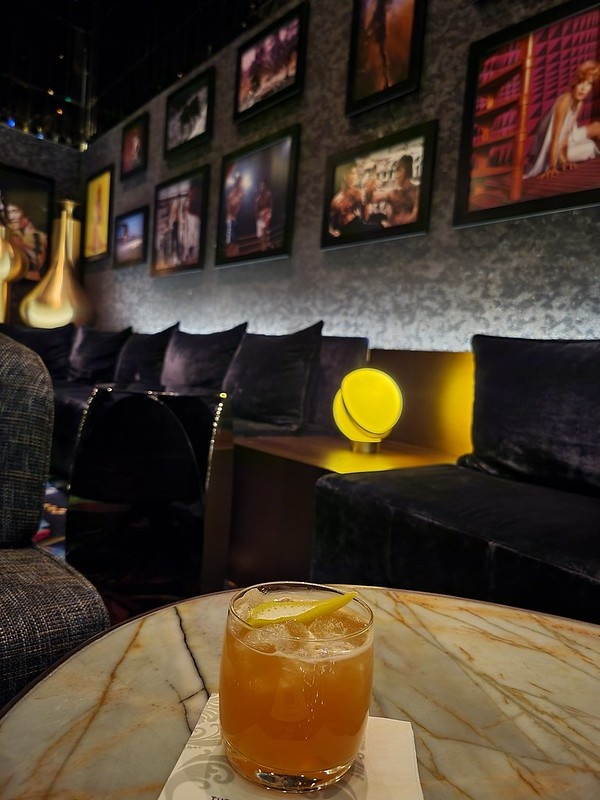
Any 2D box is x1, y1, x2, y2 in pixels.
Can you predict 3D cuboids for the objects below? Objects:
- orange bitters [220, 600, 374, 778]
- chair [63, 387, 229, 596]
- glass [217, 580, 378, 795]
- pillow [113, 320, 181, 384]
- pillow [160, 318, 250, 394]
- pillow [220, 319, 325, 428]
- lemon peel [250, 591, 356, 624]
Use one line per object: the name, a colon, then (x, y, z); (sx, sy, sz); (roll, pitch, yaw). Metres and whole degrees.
orange bitters: (-0.001, 0.172, 0.378); (0.101, 0.100, 0.105); (2, 9, 2)
chair: (-0.340, 0.179, 1.290); (0.305, 0.491, 0.281); (13, 30, 2)
glass: (-0.006, 0.177, 0.400); (0.108, 0.109, 0.112); (3, 12, 0)
pillow: (-0.980, -0.288, 3.637); (0.416, 0.330, 0.148); (1, 9, 17)
pillow: (-0.515, -0.214, 3.024); (0.454, 0.354, 0.158); (1, 9, 4)
pillow: (-0.136, -0.128, 2.533); (0.326, 0.448, 0.567); (2, 4, -33)
lemon peel: (-0.004, 0.126, 0.347); (0.047, 0.009, 0.029); (4, -8, -14)
